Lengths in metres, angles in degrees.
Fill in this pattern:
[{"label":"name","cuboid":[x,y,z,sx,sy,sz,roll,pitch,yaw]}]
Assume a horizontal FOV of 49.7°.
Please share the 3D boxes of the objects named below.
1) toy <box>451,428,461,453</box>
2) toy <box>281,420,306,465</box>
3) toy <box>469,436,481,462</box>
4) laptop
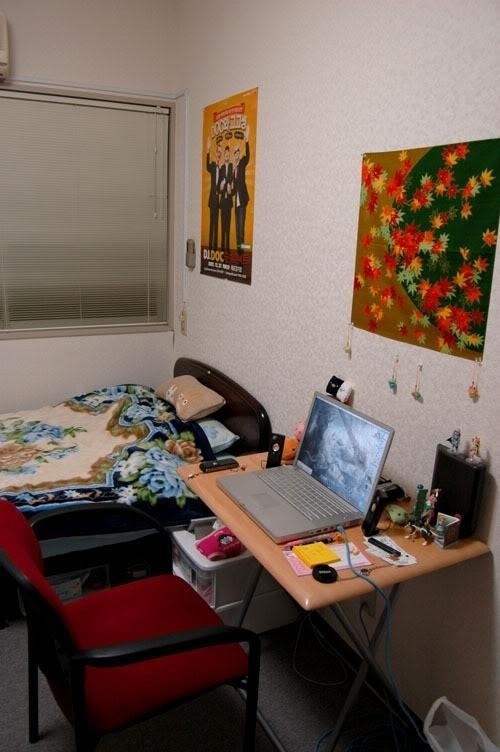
[{"label":"toy","cuboid":[0.512,0.160,1.337,0.021,0.072,0.078,4,12,21]},{"label":"toy","cuboid":[0.138,0.233,1.910,0.031,0.127,0.090,23,-20,-1]},{"label":"toy","cuboid":[0.547,0.173,1.305,0.028,0.059,0.052,5,12,23]},{"label":"laptop","cuboid":[0.148,0.225,1.509,0.347,0.276,0.409,1,11,-20]}]
